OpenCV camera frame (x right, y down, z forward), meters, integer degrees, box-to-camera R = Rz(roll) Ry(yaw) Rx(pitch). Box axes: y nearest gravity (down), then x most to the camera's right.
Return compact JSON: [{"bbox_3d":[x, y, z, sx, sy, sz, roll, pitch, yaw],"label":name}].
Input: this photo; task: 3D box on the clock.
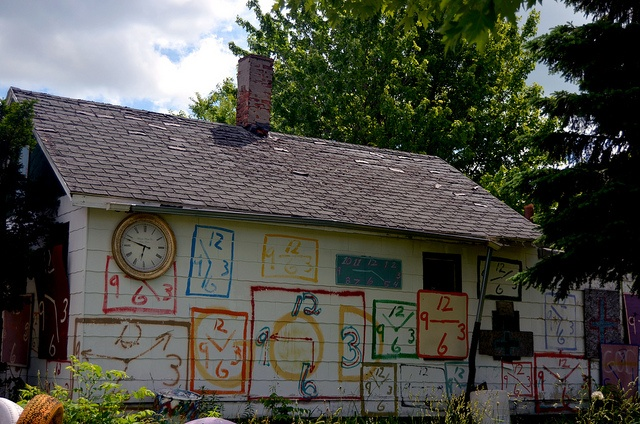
[{"bbox_3d":[-3.767,0.725,18.871,1.442,1.385,0.196,2,-14,-19],"label":"clock"}]
